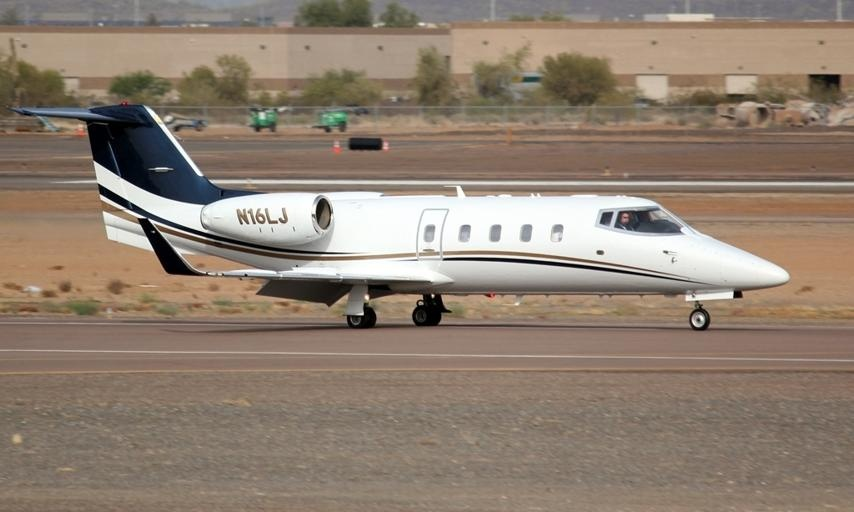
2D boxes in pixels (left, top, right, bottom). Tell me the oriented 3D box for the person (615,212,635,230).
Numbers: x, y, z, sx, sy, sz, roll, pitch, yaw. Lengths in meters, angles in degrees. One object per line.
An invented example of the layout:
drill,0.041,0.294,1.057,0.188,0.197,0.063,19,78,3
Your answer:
person,6.895,-1.177,44.670,0.916,0.557,0.780,0,-9,-13
